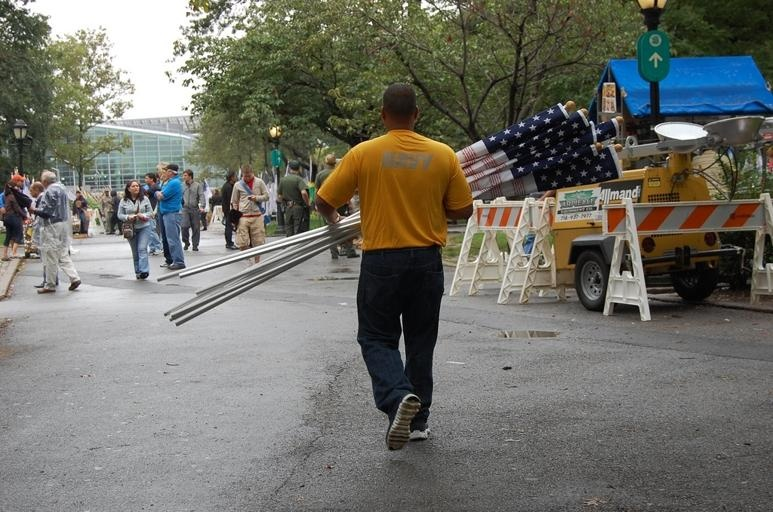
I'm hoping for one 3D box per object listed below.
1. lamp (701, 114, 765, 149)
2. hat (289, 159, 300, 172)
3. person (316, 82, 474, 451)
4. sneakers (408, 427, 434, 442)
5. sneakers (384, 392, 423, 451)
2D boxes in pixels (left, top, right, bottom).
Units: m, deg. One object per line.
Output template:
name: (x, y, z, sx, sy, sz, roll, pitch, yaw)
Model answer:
lamp: (5.425, -1.941, 9.050, 1.104, 0.454, 0.571, -4, 4, -32)
hat: (-2.675, -2.659, 17.063, 0.259, 0.303, 0.307, 4, -35, -8)
person: (0.041, 0.245, 4.057, 1.033, 2.229, 0.618, -1, 4, 6)
sneakers: (0.230, 1.298, 4.309, 0.092, 0.080, 0.180, 0, 5, 16)
sneakers: (0.081, 1.065, 3.902, 0.160, 0.422, 0.194, 22, 1, -15)
